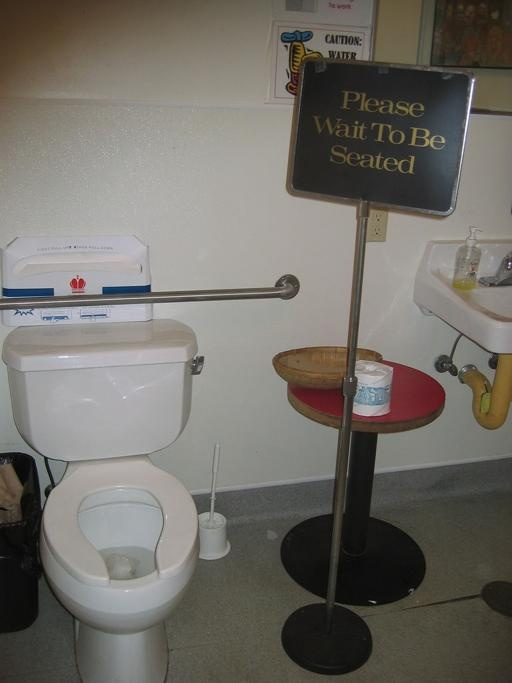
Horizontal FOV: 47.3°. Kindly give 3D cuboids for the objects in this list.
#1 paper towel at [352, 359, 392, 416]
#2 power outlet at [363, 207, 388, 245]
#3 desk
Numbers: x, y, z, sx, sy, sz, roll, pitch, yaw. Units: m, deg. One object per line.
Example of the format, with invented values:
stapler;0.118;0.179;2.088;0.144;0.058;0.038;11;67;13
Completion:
paper towel;0.263;0.112;1.381;0.110;0.122;0.111;0;21;-3
power outlet;0.353;-0.341;1.714;0.070;0.102;0.025;-10;27;-28
desk;0.296;0.390;1.658;0.430;0.510;0.407;-4;16;-15
